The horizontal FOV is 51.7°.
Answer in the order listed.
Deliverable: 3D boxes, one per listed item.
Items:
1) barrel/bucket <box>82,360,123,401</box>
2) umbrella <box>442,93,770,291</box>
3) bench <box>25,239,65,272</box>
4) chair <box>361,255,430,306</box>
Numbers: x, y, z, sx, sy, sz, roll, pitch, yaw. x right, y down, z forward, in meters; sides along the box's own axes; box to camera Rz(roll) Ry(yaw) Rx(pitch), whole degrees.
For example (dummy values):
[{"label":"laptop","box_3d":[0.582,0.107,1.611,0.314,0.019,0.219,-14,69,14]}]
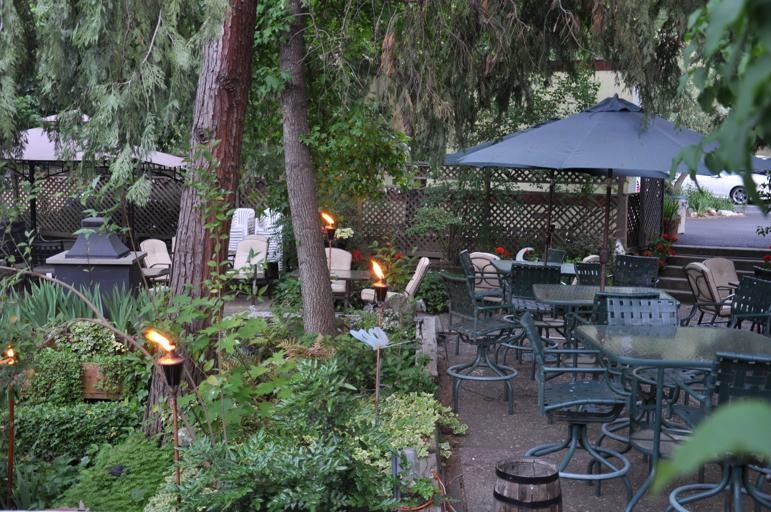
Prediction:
[{"label":"barrel/bucket","box_3d":[-2.648,1.185,7.479,0.423,0.372,0.305,-1,5,-3]},{"label":"umbrella","box_3d":[1.940,-1.246,8.679,2.392,1.904,2.525,-2,11,-19]},{"label":"bench","box_3d":[-4.438,0.013,10.334,0.362,0.478,0.392,1,5,0]},{"label":"chair","box_3d":[0.115,0.385,10.535,0.901,0.886,0.578,5,9,0]}]
